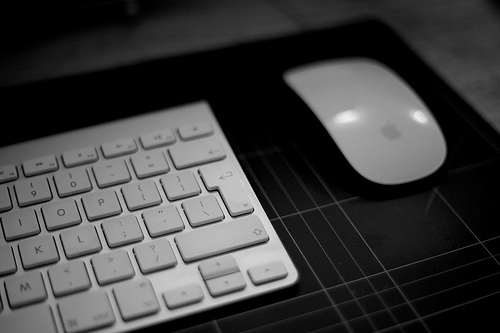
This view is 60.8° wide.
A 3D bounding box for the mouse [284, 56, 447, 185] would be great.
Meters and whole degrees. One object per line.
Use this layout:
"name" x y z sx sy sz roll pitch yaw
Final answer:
"mouse" 0.153 -0.067 0.550 0.142 0.168 0.094 -28 4 -6
